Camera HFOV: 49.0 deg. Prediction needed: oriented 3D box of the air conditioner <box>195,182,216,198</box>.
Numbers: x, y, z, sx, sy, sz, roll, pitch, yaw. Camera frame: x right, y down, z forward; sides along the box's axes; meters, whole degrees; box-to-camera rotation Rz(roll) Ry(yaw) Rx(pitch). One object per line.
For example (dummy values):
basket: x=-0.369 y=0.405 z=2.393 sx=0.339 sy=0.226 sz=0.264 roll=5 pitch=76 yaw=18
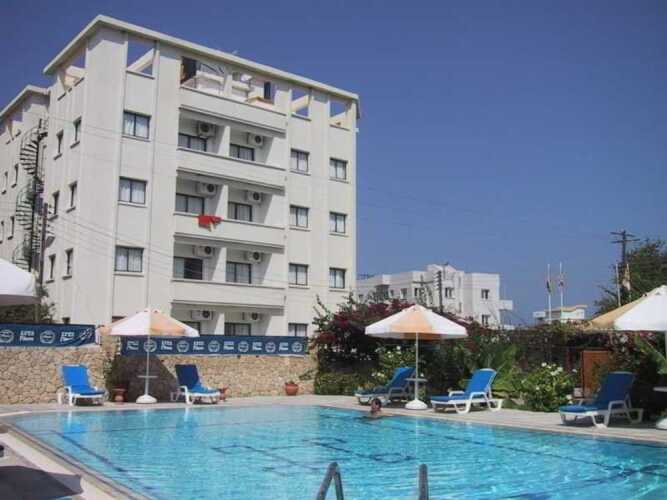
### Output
air conditioner: x=-6.815 y=-3.271 z=39.214 sx=1.001 sy=1.007 sz=0.574 roll=5 pitch=-8 yaw=-44

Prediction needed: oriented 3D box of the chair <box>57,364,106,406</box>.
chair: x=-8.300 y=4.461 z=24.179 sx=1.085 sy=1.449 sz=1.855 roll=4 pitch=-9 yaw=-33

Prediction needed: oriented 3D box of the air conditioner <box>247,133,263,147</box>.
air conditioner: x=-4.477 y=-6.283 z=41.335 sx=0.191 sy=0.587 sz=0.609 roll=-6 pitch=-9 yaw=44

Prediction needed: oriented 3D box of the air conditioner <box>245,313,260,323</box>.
air conditioner: x=-4.469 y=3.854 z=40.285 sx=0.861 sy=0.911 sz=0.461 roll=1 pitch=0 yaw=-38

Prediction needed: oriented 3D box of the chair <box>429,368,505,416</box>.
chair: x=3.938 y=4.325 z=22.404 sx=2.150 sy=1.405 sz=1.203 roll=6 pitch=-9 yaw=-30

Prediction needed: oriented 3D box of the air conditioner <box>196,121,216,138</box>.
air conditioner: x=-6.861 y=-6.511 z=39.376 sx=0.590 sy=0.772 sz=1.010 roll=-7 pitch=-9 yaw=36

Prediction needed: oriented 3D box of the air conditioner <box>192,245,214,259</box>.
air conditioner: x=-6.893 y=0.279 z=38.990 sx=0.508 sy=1.081 sz=1.043 roll=0 pitch=-2 yaw=39

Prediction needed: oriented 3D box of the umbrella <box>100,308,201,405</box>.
umbrella: x=-6.351 y=3.486 z=25.413 sx=2.989 sy=3.002 sz=3.010 roll=3 pitch=-5 yaw=-16

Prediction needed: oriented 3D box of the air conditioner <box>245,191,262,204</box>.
air conditioner: x=-4.481 y=-2.956 z=41.003 sx=0.977 sy=0.928 sz=0.563 roll=4 pitch=-7 yaw=-39

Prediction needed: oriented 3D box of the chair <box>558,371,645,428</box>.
chair: x=6.889 y=3.952 z=19.285 sx=2.392 sy=1.627 sz=1.306 roll=9 pitch=-13 yaw=-34

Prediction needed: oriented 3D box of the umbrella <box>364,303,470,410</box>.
umbrella: x=2.740 y=3.229 z=23.901 sx=2.974 sy=3.155 sz=3.331 roll=-2 pitch=-4 yaw=9

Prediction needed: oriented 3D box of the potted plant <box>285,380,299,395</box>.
potted plant: x=-1.690 y=5.547 z=29.279 sx=0.447 sy=0.367 sz=0.461 roll=3 pitch=-10 yaw=-20

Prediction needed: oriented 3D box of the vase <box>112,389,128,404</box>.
vase: x=-7.315 y=4.988 z=24.887 sx=0.409 sy=0.507 sz=0.443 roll=0 pitch=-6 yaw=-3
